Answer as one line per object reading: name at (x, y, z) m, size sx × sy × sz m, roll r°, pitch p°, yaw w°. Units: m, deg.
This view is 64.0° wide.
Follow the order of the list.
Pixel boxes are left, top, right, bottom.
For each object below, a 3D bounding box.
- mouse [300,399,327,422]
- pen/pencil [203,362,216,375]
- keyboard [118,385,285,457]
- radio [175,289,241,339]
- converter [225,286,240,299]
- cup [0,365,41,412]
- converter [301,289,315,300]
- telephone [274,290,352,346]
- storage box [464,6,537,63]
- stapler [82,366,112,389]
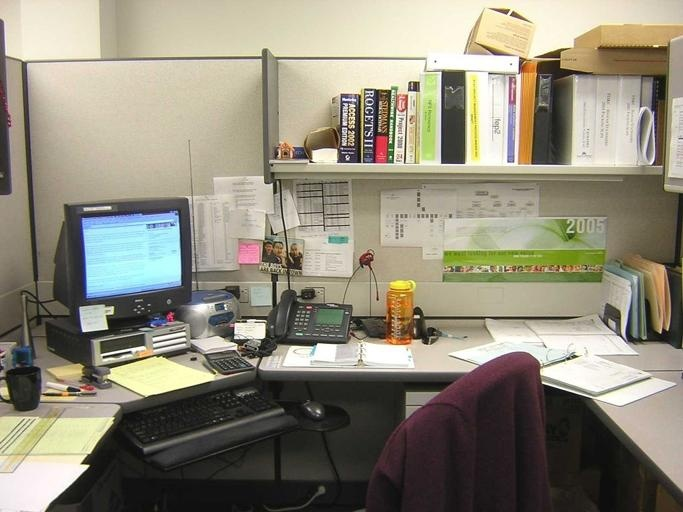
mouse at (-0.107, 0.583, 2.050) m, size 0.092 × 0.085 × 0.154 m, roll -5°, pitch 13°, yaw -3°
pen/pencil at (-0.498, 0.424, 2.057) m, size 0.022 × 0.009 × 0.088 m, roll -11°, pitch 20°, yaw -31°
keyboard at (-0.483, 0.556, 1.898) m, size 0.514 × 0.061 × 0.216 m, roll -11°, pitch 14°, yaw -29°
radio at (-0.577, 0.244, 2.400) m, size 0.233 × 0.165 × 0.254 m, roll 13°, pitch 18°, yaw 34°
converter at (-0.495, 0.163, 2.471) m, size 0.067 × 0.060 × 0.019 m, roll 2°, pitch 1°, yaw -3°
cup at (-0.998, 0.424, 1.759) m, size 0.148 × 0.125 × 0.095 m, roll 3°, pitch 5°, yaw 32°
converter at (-0.154, 0.172, 2.501) m, size 0.054 × 0.036 × 0.052 m, roll 1°, pitch 6°, yaw -2°
telephone at (-0.125, 0.281, 2.345) m, size 0.304 × 0.103 × 0.217 m, roll 2°, pitch 44°, yaw 5°
storage box at (0.660, -0.915, 2.277) m, size 0.229 × 0.154 × 0.245 m, roll 17°, pitch 0°, yaw 26°
stapler at (-0.858, 0.423, 1.912) m, size 0.153 × 0.058 × 0.046 m, roll 1°, pitch -1°, yaw 45°
